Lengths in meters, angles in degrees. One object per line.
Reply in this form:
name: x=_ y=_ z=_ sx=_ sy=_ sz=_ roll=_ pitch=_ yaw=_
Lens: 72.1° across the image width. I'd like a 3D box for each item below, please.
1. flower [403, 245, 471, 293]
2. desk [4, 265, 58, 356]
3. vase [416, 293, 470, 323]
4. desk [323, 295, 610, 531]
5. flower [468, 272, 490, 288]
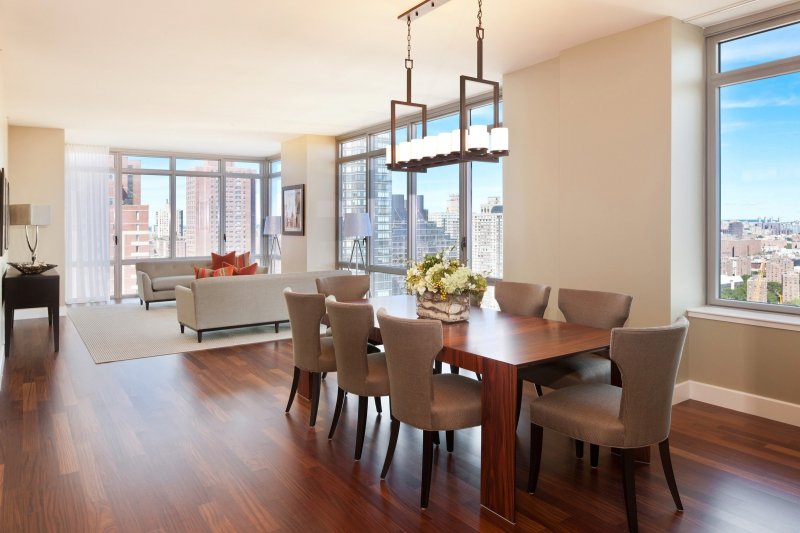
flower: x=0.345 y=0.060 z=4.930 sx=0.397 sy=0.280 sz=0.456 roll=-3 pitch=-10 yaw=14
desk: x=-4.925 y=0.607 z=7.368 sx=0.657 sy=0.917 sz=1.150 roll=0 pitch=5 yaw=-28
vase: x=0.389 y=0.428 z=4.858 sx=0.263 sy=0.225 sz=0.481 roll=3 pitch=-4 yaw=-43
desk: x=0.767 y=0.795 z=4.382 sx=1.502 sy=1.072 sz=2.295 roll=-4 pitch=5 yaw=-31
flower: x=0.682 y=0.129 z=4.845 sx=0.140 sy=0.109 sz=0.171 roll=3 pitch=4 yaw=24
